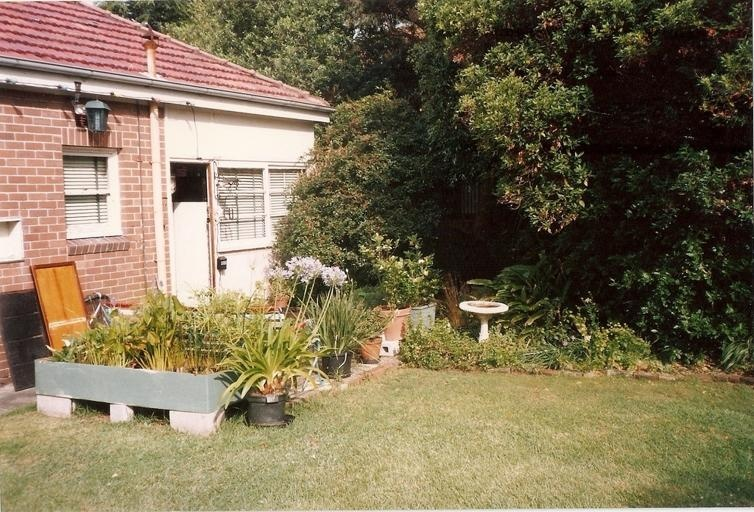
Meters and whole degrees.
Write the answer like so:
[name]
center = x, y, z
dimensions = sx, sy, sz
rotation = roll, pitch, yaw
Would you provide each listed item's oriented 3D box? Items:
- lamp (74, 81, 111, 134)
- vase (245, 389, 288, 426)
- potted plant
[lamp]
center = -3.872, -2.042, 8.272
dimensions = 0.412, 0.725, 0.312
rotation = 0, 7, -9
[vase]
center = -1.241, 1.710, 6.902
dimensions = 0.453, 0.343, 0.455
rotation = 4, -5, -42
[potted plant]
center = 0.183, 0.704, 10.240
dimensions = 1.667, 2.403, 2.089
rotation = 1, 3, 10
